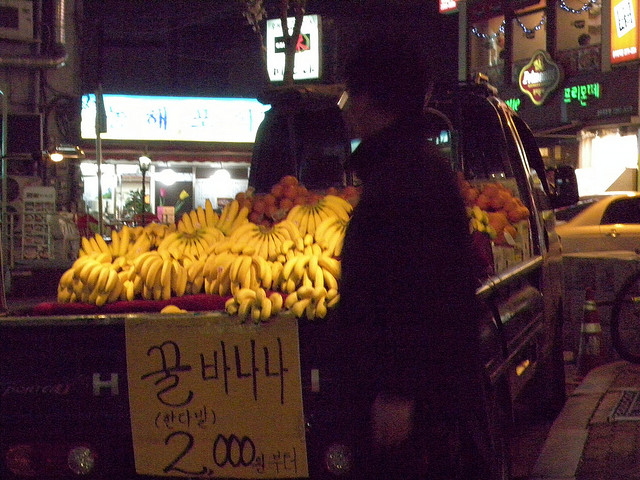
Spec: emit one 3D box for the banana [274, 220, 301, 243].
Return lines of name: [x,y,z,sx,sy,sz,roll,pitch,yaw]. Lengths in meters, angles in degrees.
banana: [-0.244,-0.063,4.780,0.049,0.145,0.149,-19,25,-35]

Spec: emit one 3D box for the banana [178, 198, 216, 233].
banana: [-0.986,-0.171,5.190,0.188,0.114,0.300,-7,34,9]

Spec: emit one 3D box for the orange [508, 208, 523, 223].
orange: [1.641,-0.206,5.399,0.102,0.117,0.061,-16,-2,-17]

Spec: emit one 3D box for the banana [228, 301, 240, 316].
banana: [-0.509,0.406,3.808,0.050,0.036,0.076,2,38,18]

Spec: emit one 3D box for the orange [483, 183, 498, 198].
orange: [1.476,-0.422,5.541,0.100,0.134,0.112,-22,-21,4]

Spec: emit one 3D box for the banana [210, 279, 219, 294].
banana: [-0.720,0.316,4.415,0.054,0.090,0.021,13,4,35]

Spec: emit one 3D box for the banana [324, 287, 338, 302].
banana: [0.076,0.326,3.888,0.068,0.106,0.184,-3,-11,9]

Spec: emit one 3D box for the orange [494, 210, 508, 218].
orange: [1.532,-0.228,5.368,0.067,0.045,0.071,3,4,-22]

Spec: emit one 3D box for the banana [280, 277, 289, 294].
banana: [-0.226,0.305,4.212,0.024,0.078,0.051,-4,3,-31]

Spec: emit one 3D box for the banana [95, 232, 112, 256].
banana: [-2.259,0.025,6.736,0.054,0.263,0.083,-28,5,21]

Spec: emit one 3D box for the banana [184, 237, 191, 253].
banana: [-0.993,0.031,4.877,0.041,0.129,0.106,-1,-11,-2]

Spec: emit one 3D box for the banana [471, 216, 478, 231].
banana: [1.122,-0.126,4.656,0.018,0.077,0.058,-15,23,27]

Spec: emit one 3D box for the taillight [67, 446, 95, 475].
taillight: [-1.386,1.278,3.744,0.149,0.161,0.032,-1,-10,0]

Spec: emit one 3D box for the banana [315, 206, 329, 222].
banana: [0.021,-0.201,4.933,0.021,0.030,0.155,39,16,-35]

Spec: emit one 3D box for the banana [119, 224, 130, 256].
banana: [-1.479,-0.012,4.946,0.054,0.253,0.074,7,-15,-4]

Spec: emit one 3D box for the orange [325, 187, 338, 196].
orange: [0.106,-0.418,5.514,0.073,0.049,0.080,3,4,25]

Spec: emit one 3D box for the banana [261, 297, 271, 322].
banana: [-0.310,0.400,3.717,0.048,0.117,0.037,-6,-17,11]

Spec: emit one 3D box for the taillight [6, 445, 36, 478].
taillight: [-1.744,1.291,3.766,0.179,0.178,0.049,-4,-11,15]

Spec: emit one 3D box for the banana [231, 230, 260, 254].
banana: [-0.555,0.006,4.687,0.091,0.072,0.276,42,42,12]

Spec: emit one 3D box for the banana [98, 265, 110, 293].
banana: [-1.419,0.256,4.258,0.040,0.173,0.058,4,-33,-5]

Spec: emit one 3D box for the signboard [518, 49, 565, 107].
signboard: [8.600,-6.321,25.126,0.252,2.116,1.893,-4,5,-37]

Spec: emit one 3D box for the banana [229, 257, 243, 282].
banana: [-0.546,0.177,4.308,0.058,0.055,0.194,21,43,0]

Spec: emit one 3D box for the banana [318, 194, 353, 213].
banana: [0.141,-0.312,5.079,0.197,0.060,0.168,29,12,1]

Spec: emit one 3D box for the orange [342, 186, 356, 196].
orange: [0.263,-0.433,5.653,0.083,0.034,0.096,-3,25,5]

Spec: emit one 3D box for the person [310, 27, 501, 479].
person: [0.369,0.144,3.432,0.947,2.273,1.021,-4,-11,15]

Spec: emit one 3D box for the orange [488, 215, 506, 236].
orange: [1.401,-0.132,5.117,0.094,0.195,0.061,-12,-18,-23]

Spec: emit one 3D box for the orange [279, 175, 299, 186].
orange: [-0.258,-0.493,5.368,0.101,0.082,0.133,4,-4,-7]

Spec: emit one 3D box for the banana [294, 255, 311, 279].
banana: [-0.120,0.184,4.194,0.048,0.099,0.196,-18,29,28]

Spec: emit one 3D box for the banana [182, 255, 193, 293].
banana: [-0.927,0.235,4.547,0.081,0.257,0.063,13,-47,-33]

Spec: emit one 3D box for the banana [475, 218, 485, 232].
banana: [1.194,-0.105,4.771,0.025,0.088,0.063,-35,-17,34]

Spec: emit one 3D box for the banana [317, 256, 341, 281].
banana: [0.069,0.174,4.197,0.040,0.141,0.136,-23,17,10]

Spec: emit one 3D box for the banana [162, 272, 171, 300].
banana: [-1.030,0.306,4.353,0.040,0.185,0.054,7,-4,-26]

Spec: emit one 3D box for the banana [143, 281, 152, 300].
banana: [-1.167,0.341,4.385,0.029,0.117,0.061,-2,29,3]

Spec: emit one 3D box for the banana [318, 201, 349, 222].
banana: [0.103,-0.218,4.949,0.178,0.050,0.065,42,26,15]

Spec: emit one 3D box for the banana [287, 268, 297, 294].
banana: [-0.171,0.268,4.159,0.037,0.164,0.054,-7,-26,25]

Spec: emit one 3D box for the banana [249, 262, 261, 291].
banana: [-0.435,0.246,4.299,0.051,0.216,0.064,-25,-32,31]

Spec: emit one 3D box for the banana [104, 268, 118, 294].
banana: [-1.371,0.265,4.233,0.065,0.136,0.036,3,-26,3]

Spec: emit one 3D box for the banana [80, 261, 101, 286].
banana: [-1.553,0.215,4.380,0.113,0.140,0.038,-4,-7,19]

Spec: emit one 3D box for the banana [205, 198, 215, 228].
banana: [-0.881,-0.217,5.260,0.054,0.272,0.076,-6,11,19]

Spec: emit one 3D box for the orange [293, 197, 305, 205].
orange: [-0.164,-0.316,5.134,0.056,0.036,0.057,8,14,44]

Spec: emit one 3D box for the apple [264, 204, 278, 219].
apple: [-0.378,-0.230,5.108,0.092,0.083,0.054,-19,-35,40]

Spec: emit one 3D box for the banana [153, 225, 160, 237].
banana: [-1.298,-0.078,5.125,0.037,0.107,0.064,8,-14,-40]

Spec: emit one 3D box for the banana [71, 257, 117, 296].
banana: [-1.503,0.259,4.334,0.274,0.102,0.214,36,18,25]

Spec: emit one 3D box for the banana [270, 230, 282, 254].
banana: [-0.315,0.018,4.682,0.072,0.040,0.227,31,19,-22]

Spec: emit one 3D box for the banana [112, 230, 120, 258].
banana: [-1.553,0.034,4.933,0.053,0.246,0.074,-6,-10,10]
